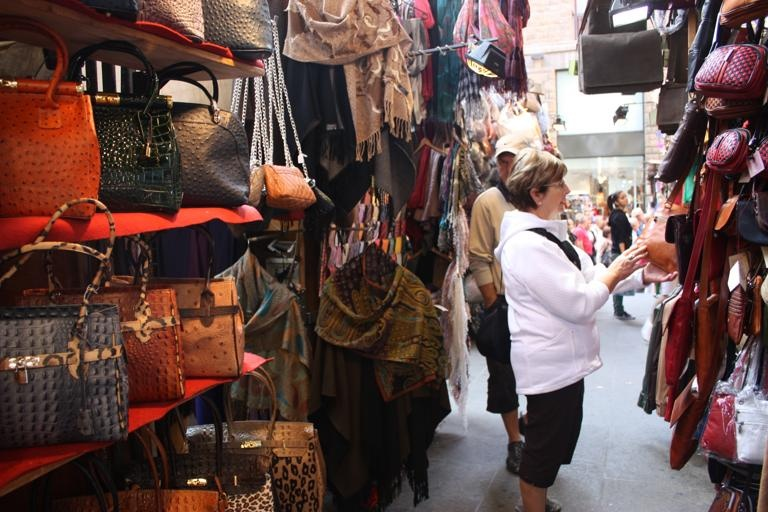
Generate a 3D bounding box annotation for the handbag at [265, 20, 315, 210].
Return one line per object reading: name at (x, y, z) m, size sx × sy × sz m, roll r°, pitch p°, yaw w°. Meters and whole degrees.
handbag at (-0.482, -0.705, 3.118) m, size 0.245 × 0.974 × 0.559 m, roll -2°, pitch 6°, yaw -7°

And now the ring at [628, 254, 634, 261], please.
ring at (1.215, 0.005, 3.041) m, size 0.017 × 0.020 × 0.019 m, roll -3°, pitch 8°, yaw 0°

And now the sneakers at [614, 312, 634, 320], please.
sneakers at (3.378, 0.829, 8.664) m, size 0.210 × 0.102 × 0.095 m, roll 0°, pitch 3°, yaw 26°

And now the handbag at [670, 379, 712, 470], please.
handbag at (1.334, 0.751, 2.714) m, size 0.102 × 0.442 × 0.122 m, roll 18°, pitch -4°, yaw -19°

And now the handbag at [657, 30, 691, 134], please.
handbag at (1.841, -1.113, 4.007) m, size 0.144 × 0.625 × 0.338 m, roll 2°, pitch 0°, yaw 16°

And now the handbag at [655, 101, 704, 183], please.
handbag at (1.469, -0.548, 3.035) m, size 0.090 × 0.345 × 0.203 m, roll 23°, pitch 8°, yaw 30°

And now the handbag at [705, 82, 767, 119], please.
handbag at (1.404, -0.619, 2.483) m, size 0.178 × 0.189 × 0.098 m, roll 4°, pitch -34°, yaw 39°

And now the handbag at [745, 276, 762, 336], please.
handbag at (1.498, 0.200, 2.485) m, size 0.044 × 0.244 × 0.092 m, roll -1°, pitch 6°, yaw 4°

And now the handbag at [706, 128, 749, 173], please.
handbag at (1.388, -0.423, 2.510) m, size 0.166 × 0.175 × 0.087 m, roll 5°, pitch 9°, yaw 45°

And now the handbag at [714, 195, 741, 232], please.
handbag at (1.431, -0.178, 2.561) m, size 0.026 × 0.124 × 0.117 m, roll 23°, pitch -24°, yaw -4°

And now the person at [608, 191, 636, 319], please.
person at (3.095, -0.042, 7.841) m, size 0.480 × 1.516 × 0.489 m, roll -1°, pitch 1°, yaw 33°
